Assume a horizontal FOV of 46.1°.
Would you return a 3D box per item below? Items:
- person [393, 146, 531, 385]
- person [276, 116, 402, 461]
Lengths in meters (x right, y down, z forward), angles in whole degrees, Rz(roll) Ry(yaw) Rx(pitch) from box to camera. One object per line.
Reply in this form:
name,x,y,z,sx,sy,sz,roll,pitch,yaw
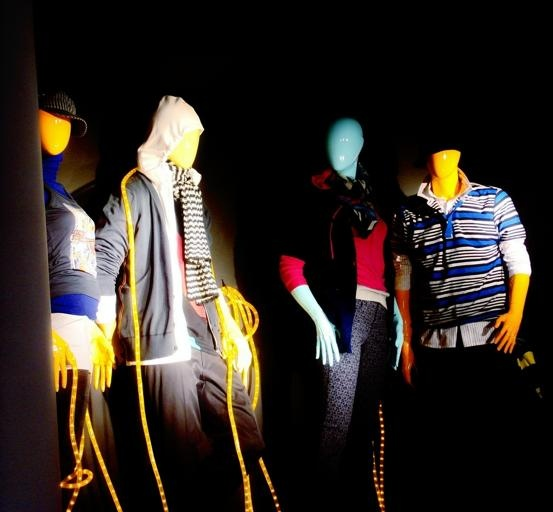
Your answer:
person,0.842,0.066,3.039,0.512,1.152,0.333,-3,-24,18
person,0.288,0.131,3.034,0.542,1.524,0.326,-2,7,-23
